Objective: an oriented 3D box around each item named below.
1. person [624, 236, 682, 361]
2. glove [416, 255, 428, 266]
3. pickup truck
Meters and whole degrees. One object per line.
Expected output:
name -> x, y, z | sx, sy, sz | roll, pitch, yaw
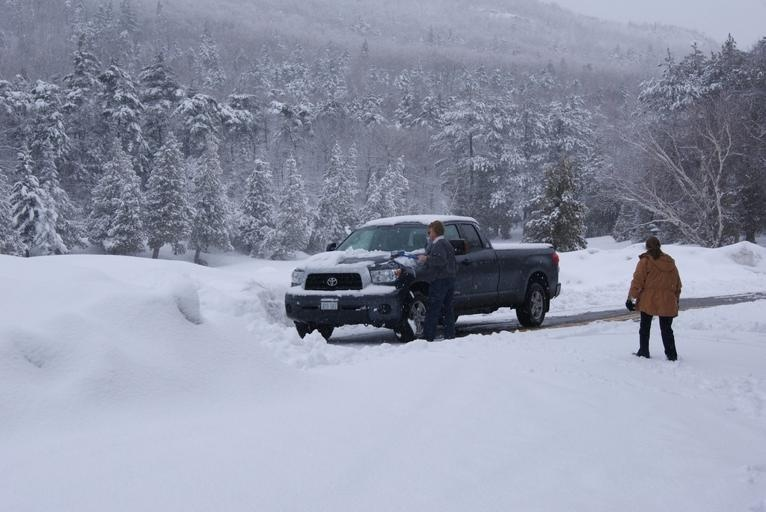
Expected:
person -> 5.006, 0.779, 14.266 | 1.019, 2.170, 1.111 | 10, 21, 19
glove -> 0.746, 0.077, 15.230 | 0.183, 0.122, 0.273 | -4, -5, 11
pickup truck -> 0.920, 0.409, 16.686 | 5.848, 2.948, 2.653 | -13, 25, -36
